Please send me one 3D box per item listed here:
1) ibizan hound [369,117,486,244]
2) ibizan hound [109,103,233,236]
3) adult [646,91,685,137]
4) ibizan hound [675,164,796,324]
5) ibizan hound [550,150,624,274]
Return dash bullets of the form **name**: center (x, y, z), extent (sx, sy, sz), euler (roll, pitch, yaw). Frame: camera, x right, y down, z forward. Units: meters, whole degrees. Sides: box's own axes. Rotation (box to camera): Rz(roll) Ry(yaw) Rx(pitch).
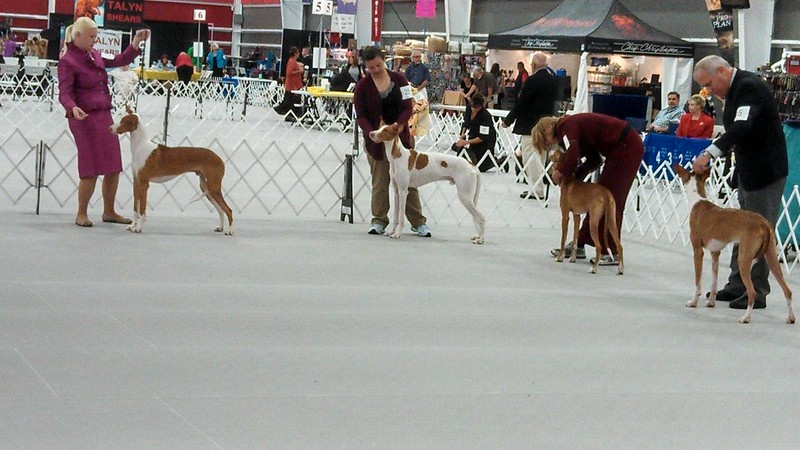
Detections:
- **ibizan hound**: center (0.431, -0.591, 10.252), extent (1.975, 1.596, 1.021), euler (-2, -1, 4)
- **ibizan hound**: center (-2.564, -0.622, 9.248), extent (1.310, 1.380, 0.485), euler (0, 10, -13)
- **adult**: center (4.758, -1.971, 14.657), extent (0.689, 0.784, 0.534), euler (-3, 11, -26)
- **ibizan hound**: center (3.071, 0.131, 8.068), extent (0.940, 1.482, 1.450), euler (1, 2, 14)
- **ibizan hound**: center (2.057, -0.190, 8.789), extent (0.781, 1.311, 0.543), euler (5, 6, 38)
